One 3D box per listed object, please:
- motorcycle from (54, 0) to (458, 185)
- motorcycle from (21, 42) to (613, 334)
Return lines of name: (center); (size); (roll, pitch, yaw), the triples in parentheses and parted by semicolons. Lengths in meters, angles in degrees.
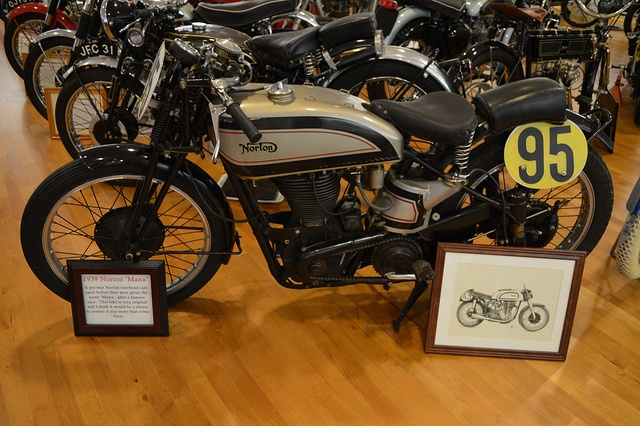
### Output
motorcycle: (-0.492, -0.945, 3.339); (2.091, 1.272, 1.247); (4, 54, -2)
motorcycle: (0.013, -0.191, 2.486); (2.949, 1.363, 1.017); (-5, 27, -2)
